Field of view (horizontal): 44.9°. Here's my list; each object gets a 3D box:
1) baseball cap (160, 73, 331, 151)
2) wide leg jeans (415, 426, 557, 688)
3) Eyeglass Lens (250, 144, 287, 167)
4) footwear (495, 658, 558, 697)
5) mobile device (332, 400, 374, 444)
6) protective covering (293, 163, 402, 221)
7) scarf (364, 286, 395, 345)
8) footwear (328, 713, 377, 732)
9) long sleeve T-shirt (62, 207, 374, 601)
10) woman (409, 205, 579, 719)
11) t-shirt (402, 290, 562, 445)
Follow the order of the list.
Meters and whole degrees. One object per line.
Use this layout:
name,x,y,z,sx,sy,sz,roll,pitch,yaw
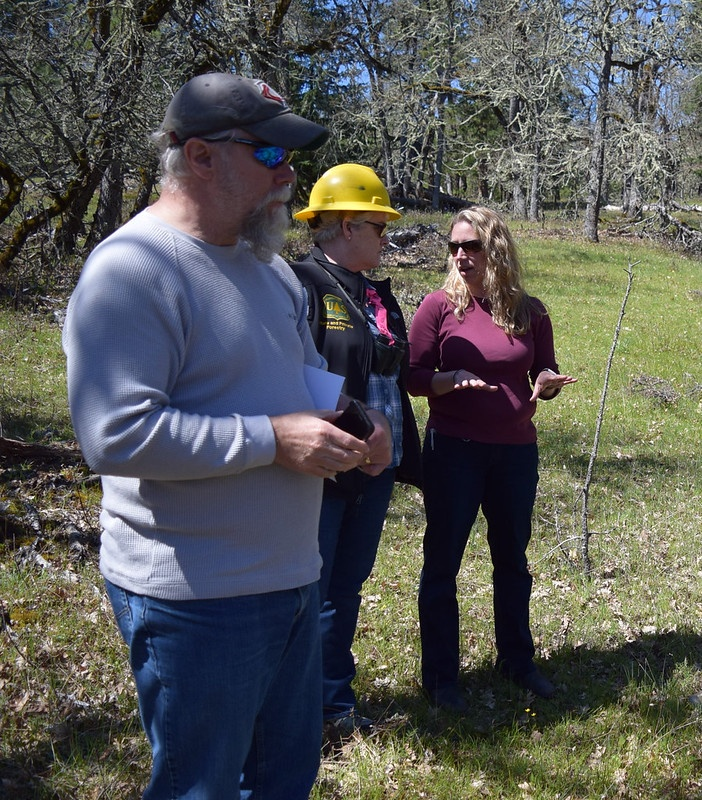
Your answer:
baseball cap,-0.286,-0.729,2.277,0.337,0.158,0.220,3,13,-9
wide leg jeans,0.606,0.751,3.957,0.572,1.196,0.318,2,9,5
Eyeglass Lens,-0.211,-0.640,2.232,0.061,0.020,0.059,38,20,30
footwear,0.848,1.340,4.130,0.306,0.124,0.111,16,21,30
mobile device,0.001,0.067,2.476,0.013,0.075,0.128,-34,16,26
protective covering,-0.027,-0.887,3.696,0.323,0.171,0.283,-5,3,-7
scarf,0.118,-0.391,3.684,0.076,0.307,0.033,8,51,26
footwear,-0.004,1.350,3.546,0.101,0.032,0.100,13,10,43
long sleeve T-shirt,-0.376,0.008,2.420,0.569,1.011,1.057,2,5,20
woman,0.663,0.241,3.921,0.739,2.234,0.720,-1,1,-3
t-shirt,0.634,-0.159,4.060,0.771,0.778,0.420,2,-3,-7
